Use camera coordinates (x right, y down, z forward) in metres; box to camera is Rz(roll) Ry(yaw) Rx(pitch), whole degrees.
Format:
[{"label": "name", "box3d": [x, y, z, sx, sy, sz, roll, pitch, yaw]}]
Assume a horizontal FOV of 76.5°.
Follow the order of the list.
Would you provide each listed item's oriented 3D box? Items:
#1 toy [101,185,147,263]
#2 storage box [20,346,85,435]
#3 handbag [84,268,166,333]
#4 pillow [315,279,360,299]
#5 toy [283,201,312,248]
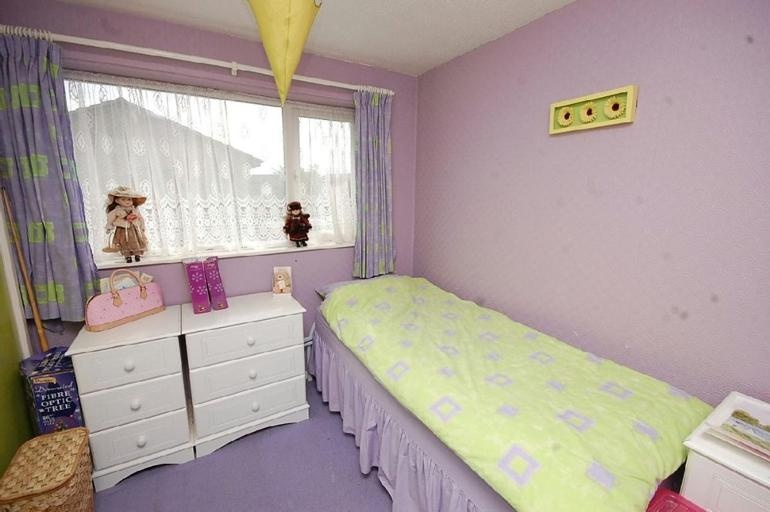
[{"label": "toy", "box3d": [-1.854, -0.219, 3.484, 0.289, 0.539, 0.169, -7, 12, -30]}, {"label": "storage box", "box3d": [-2.179, 0.890, 3.187, 0.263, 0.467, 0.370, -10, 13, -39]}, {"label": "handbag", "box3d": [-1.800, 0.331, 3.407, 0.207, 0.435, 0.584, 3, 10, 36]}, {"label": "pillow", "box3d": [-0.412, 0.262, 4.114, 0.214, 0.055, 0.223, -8, 11, -28]}, {"label": "toy", "box3d": [-0.716, -0.260, 4.020, 0.246, 0.386, 0.150, -5, 11, -19]}]
